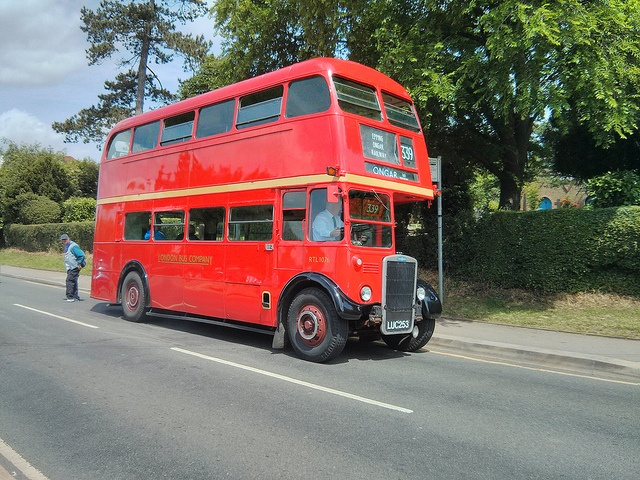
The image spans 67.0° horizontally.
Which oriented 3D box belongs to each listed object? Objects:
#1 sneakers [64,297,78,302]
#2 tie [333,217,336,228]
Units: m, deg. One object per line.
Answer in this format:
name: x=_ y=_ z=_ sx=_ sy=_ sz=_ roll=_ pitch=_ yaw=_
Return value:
sneakers: x=-8.510 y=2.035 z=16.530 sx=0.372 sy=0.184 sz=0.141 roll=0 pitch=2 yaw=-27
tie: x=0.279 y=-0.349 z=9.518 sx=0.109 sy=0.183 sz=0.022 roll=4 pitch=7 yaw=30
